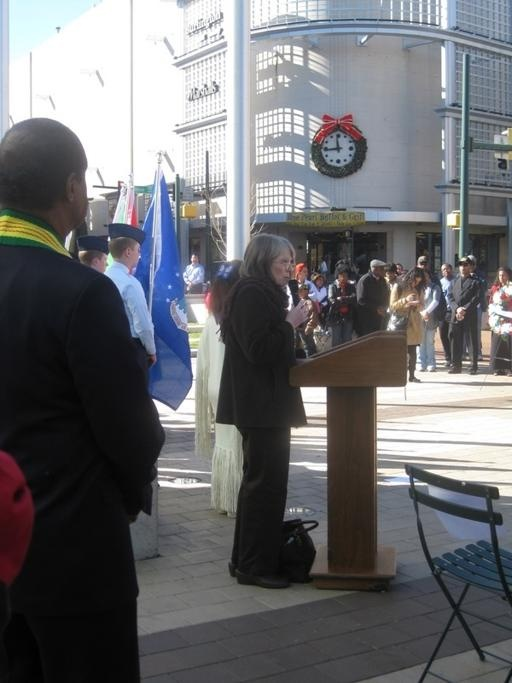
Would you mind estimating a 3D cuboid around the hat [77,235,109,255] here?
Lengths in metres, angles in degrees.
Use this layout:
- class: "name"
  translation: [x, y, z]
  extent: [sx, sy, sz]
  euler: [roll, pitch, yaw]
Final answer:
- class: "hat"
  translation: [-1.279, -0.757, 7.013]
  extent: [0.140, 0.137, 0.194]
  euler: [6, 14, 26]

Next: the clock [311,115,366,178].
- class: "clock"
  translation: [2.979, -7.198, 32.652]
  extent: [1.775, 2.414, 0.350]
  euler: [-3, 7, -5]

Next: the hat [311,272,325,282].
- class: "hat"
  translation: [1.225, -1.252, 17.498]
  extent: [0.135, 0.172, 0.202]
  euler: [0, -5, -5]

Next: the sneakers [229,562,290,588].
- class: "sneakers"
  translation: [0.013, 1.153, 4.497]
  extent: [0.271, 0.128, 0.107]
  euler: [-2, -1, 26]

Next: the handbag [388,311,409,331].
- class: "handbag"
  translation: [2.144, -0.309, 13.340]
  extent: [0.251, 0.379, 0.183]
  euler: [5, 4, 43]

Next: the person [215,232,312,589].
- class: "person"
  translation: [0.019, 0.351, 4.466]
  extent: [0.472, 1.756, 0.427]
  euler: [0, 5, 7]

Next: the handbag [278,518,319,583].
- class: "handbag"
  translation: [0.213, 1.092, 4.659]
  extent: [0.222, 0.269, 0.194]
  euler: [-2, -13, 0]
